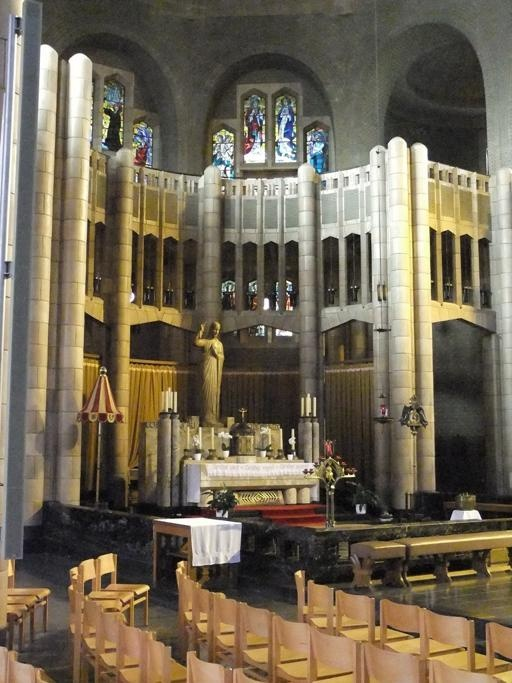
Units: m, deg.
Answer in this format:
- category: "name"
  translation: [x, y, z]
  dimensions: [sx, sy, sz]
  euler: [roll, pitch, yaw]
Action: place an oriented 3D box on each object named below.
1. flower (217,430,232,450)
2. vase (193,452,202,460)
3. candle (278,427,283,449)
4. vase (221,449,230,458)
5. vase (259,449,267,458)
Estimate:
- category: "flower"
  translation: [-0.543, 1.666, 13.649]
  dimensions: [0.236, 0.331, 0.338]
  euler: [3, -9, -3]
- category: "vase"
  translation: [-0.945, 1.855, 13.079]
  dimensions: [0.120, 0.117, 0.102]
  euler: [1, -1, -24]
- category: "candle"
  translation: [0.407, 1.743, 14.418]
  dimensions: [0.040, 0.311, 0.121]
  euler: [5, -10, -16]
- category: "vase"
  translation: [-0.508, 1.851, 13.274]
  dimensions: [0.112, 0.117, 0.108]
  euler: [3, -5, -18]
- category: "vase"
  translation: [0.107, 1.914, 13.787]
  dimensions: [0.107, 0.116, 0.106]
  euler: [3, -5, -18]
